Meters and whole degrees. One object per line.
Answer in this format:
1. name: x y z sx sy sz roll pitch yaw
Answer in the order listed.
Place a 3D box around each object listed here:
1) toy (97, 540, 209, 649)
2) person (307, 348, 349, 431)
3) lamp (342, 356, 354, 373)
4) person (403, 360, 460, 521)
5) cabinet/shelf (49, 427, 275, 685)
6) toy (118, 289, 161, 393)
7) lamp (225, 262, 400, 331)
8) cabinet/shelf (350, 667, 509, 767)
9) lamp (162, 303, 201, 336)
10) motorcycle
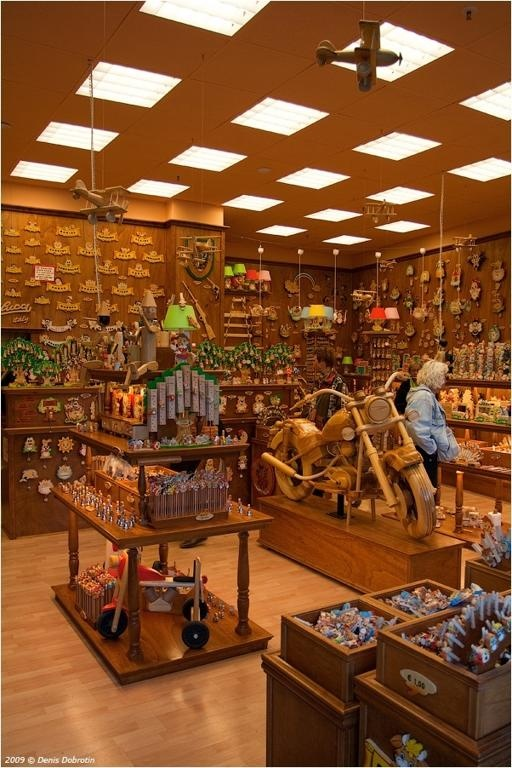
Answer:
1. toy: -0.630 1.362 3.441 0.714 0.576 0.515 1 -6 -2
2. person: 0.808 0.148 6.061 0.529 1.116 0.340 22 29 38
3. lamp: 2.366 -0.487 13.296 0.354 0.543 0.380 -1 7 0
4. person: 1.542 0.368 4.562 0.417 1.123 0.574 -2 0 25
5. cabinet/shelf: -0.792 1.148 3.993 1.102 1.421 1.822 7 -8 -32
6. toy: -0.813 -0.330 3.714 0.239 0.687 0.426 -2 0 -12
7. lamp: 1.169 -2.118 12.428 4.035 1.654 2.063 -2 0 -12
8. cabinet/shelf: 0.495 0.894 1.390 0.278 0.217 0.280 3 -5 -31
9. lamp: -0.525 -0.461 3.584 0.216 0.201 0.309 -2 0 -10
10. motorcycle: 0.820 0.601 4.887 0.904 1.106 2.108 -1 6 -25
